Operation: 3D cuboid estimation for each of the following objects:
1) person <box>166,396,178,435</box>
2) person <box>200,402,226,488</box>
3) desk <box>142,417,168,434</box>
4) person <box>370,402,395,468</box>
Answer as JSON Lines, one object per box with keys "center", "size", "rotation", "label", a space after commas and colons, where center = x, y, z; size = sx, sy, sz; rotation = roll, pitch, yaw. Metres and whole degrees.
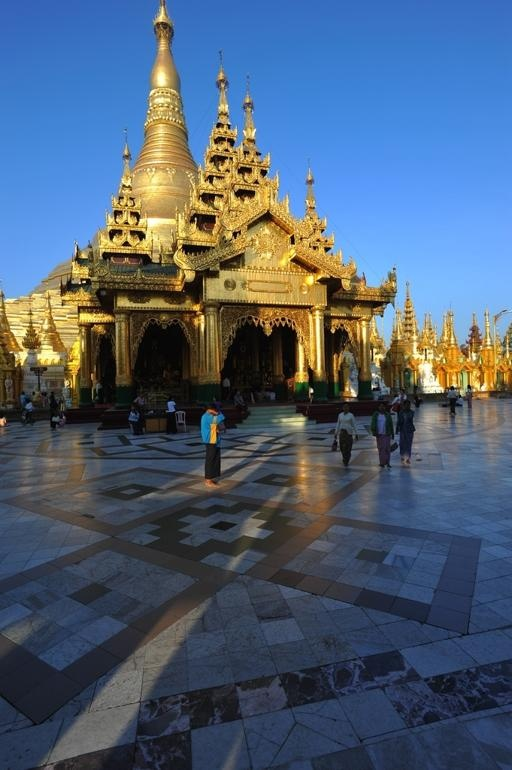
{"center": [-2.338, 0.893, 16.309], "size": [0.300, 0.890, 0.830], "rotation": [-2, 3, -8], "label": "person"}
{"center": [-0.580, 0.803, 8.049], "size": [0.294, 1.053, 0.702], "rotation": [-2, 2, -5], "label": "person"}
{"center": [-2.895, 1.158, 16.948], "size": [0.711, 0.571, 0.399], "rotation": [1, -5, -18], "label": "desk"}
{"center": [1.940, 0.768, 9.038], "size": [0.312, 0.970, 0.821], "rotation": [-1, 3, 11], "label": "person"}
